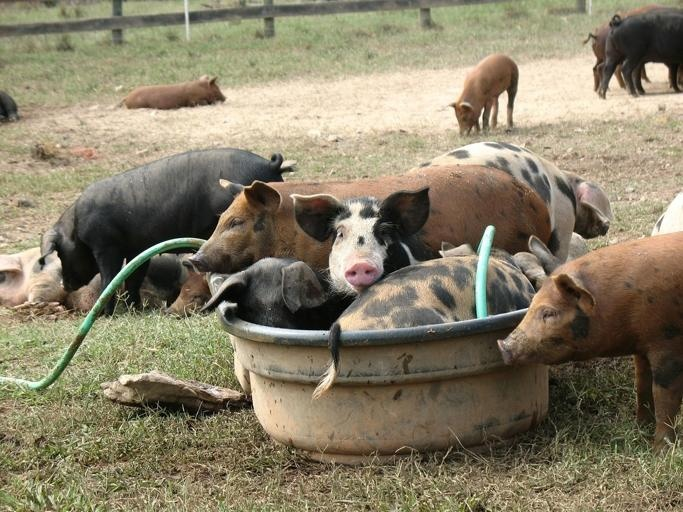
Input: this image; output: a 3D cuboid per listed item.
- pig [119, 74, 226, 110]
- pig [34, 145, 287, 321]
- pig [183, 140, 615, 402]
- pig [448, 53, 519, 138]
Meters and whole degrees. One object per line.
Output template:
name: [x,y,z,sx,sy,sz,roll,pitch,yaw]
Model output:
pig: [-2.744,-2.651,19.461,1.629,0.442,0.526,-7,13,-3]
pig: [-1.664,-0.164,11.511,2.972,1.481,0.878,-11,-1,10]
pig: [0.481,0.265,9.499,2.689,2.096,3.286,4,12,23]
pig: [1.992,-2.256,16.621,0.837,1.043,1.591,-2,14,17]
